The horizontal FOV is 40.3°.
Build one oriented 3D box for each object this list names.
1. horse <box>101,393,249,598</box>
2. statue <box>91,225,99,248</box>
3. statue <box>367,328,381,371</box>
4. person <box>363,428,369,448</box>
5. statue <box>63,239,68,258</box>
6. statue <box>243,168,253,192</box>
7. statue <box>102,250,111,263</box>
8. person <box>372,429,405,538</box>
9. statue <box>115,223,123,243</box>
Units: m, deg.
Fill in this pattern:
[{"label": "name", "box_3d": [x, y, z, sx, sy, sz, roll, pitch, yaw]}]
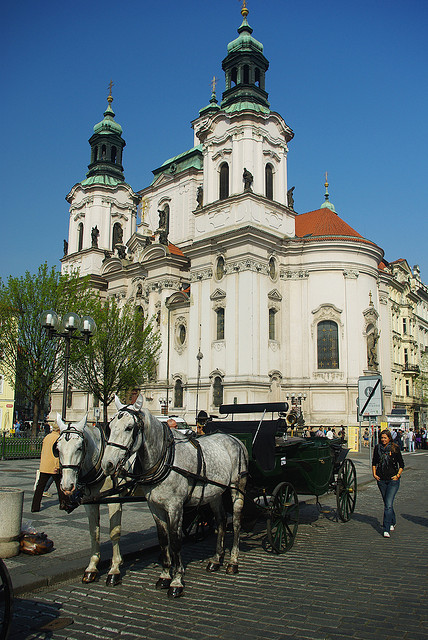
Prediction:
[{"label": "horse", "box_3d": [-0.301, 2.084, 6.985, 0.629, 2.107, 2.630, -10, -18, 36]}, {"label": "statue", "box_3d": [-11.122, -7.847, 54.455, 0.528, 2.245, 0.917, 1, -9, -6]}, {"label": "statue", "box_3d": [11.394, 2.074, 41.583, 0.521, 3.139, 1.850, -5, -10, 26]}, {"label": "person", "box_3d": [10.024, 7.692, 38.277, 0.306, 1.204, 1.496, -2, -10, 13]}, {"label": "statue", "box_3d": [-14.849, -7.213, 58.478, 0.332, 1.578, 0.705, 2, -10, -14]}, {"label": "statue", "box_3d": [2.327, -9.503, 39.569, 0.819, 1.955, 0.536, 8, -12, -42]}, {"label": "statue", "box_3d": [-9.982, -5.866, 54.025, 0.617, 1.380, 1.535, 1, -10, -10]}, {"label": "person", "box_3d": [3.082, 2.802, 10.240, 0.537, 1.731, 1.330, -3, -10, 15]}, {"label": "statue", "box_3d": [-9.187, -8.526, 56.437, 0.758, 2.260, 1.700, 1, -9, -10]}]
